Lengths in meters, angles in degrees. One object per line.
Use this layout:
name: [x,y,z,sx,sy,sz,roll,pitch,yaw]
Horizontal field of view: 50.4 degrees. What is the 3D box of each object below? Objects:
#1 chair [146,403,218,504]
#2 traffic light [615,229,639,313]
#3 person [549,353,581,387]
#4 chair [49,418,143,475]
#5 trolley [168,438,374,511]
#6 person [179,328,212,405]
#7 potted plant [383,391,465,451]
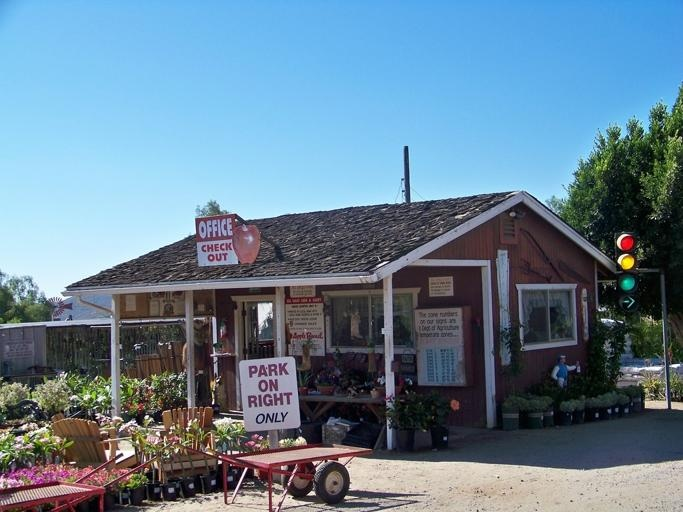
chair: [-2.325,3.039,11.414,0.771,1.159,0.805,-4,-20,-5]
traffic light: [5.249,0.287,13.364,0.394,1.381,0.568,-6,-10,22]
person: [5.208,2.729,17.087,0.492,0.805,1.465,-8,-12,25]
chair: [-3.805,3.059,11.510,0.757,0.844,1.330,-5,-15,16]
trolley: [-0.875,3.080,10.128,2.318,0.979,1.203,-2,-1,-37]
person: [-3.872,2.846,19.805,0.581,2.475,0.481,3,4,20]
potted plant: [1.483,3.001,13.469,1.093,0.920,1.014,-2,-2,25]
